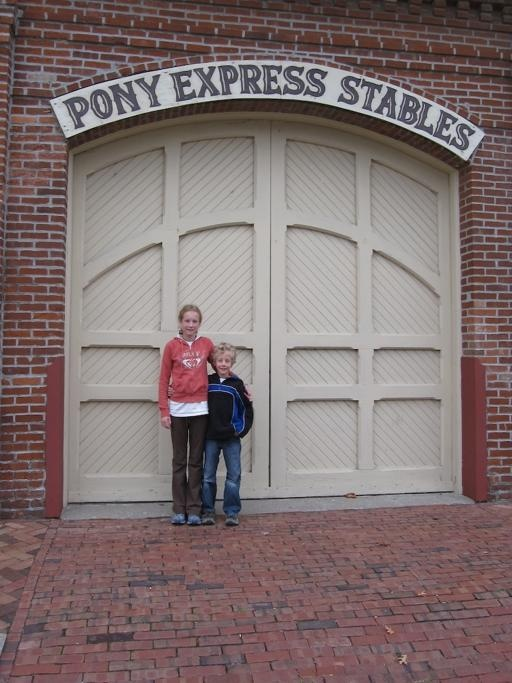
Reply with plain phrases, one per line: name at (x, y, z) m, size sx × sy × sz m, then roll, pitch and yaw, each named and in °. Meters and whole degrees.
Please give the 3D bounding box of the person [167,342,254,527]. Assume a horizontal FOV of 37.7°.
person at (-0.228, 0.718, 5.785) m, size 0.382 × 1.383 × 0.403 m, roll 1°, pitch 7°, yaw -1°
